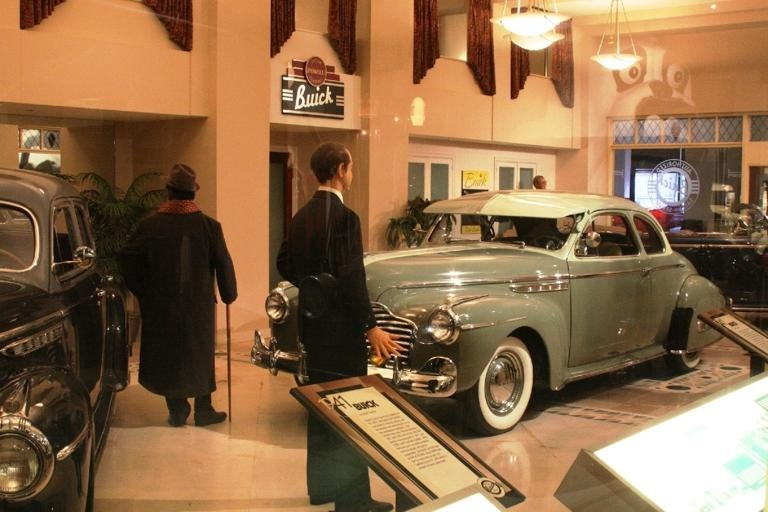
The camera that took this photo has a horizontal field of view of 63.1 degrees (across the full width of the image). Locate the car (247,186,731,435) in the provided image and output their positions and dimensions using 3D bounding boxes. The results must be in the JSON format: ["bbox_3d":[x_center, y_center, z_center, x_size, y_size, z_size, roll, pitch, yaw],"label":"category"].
[{"bbox_3d":[1.066,0.246,3.698,2.452,0.917,1.363,0,1,-38],"label":"car"}]

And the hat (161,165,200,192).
[{"bbox_3d":[-0.966,-0.379,3.027,0.064,0.144,0.201,4,12,21],"label":"hat"}]

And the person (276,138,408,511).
[{"bbox_3d":[-0.219,0.338,2.890,0.603,1.691,0.419,10,15,43],"label":"person"}]
